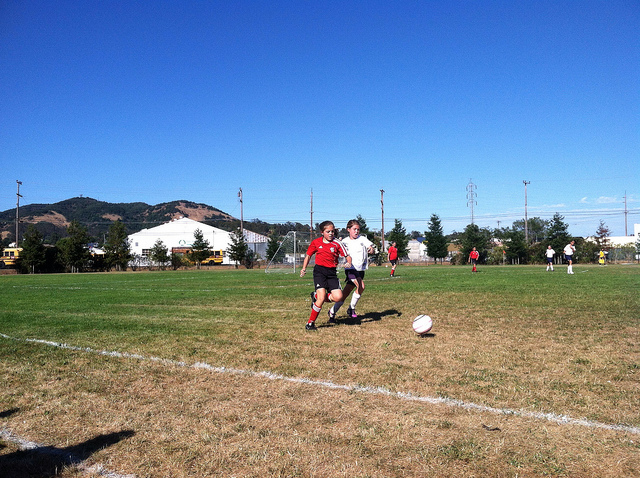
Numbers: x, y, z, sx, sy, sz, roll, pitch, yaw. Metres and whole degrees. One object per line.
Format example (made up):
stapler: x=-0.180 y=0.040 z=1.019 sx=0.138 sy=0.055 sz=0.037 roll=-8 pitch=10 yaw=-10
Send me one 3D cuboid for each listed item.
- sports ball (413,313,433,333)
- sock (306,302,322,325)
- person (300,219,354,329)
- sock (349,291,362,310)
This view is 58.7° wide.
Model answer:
sports ball: x=1.768 y=1.498 z=9.844 sx=0.303 sy=0.290 sz=0.357 roll=1 pitch=8 yaw=9
sock: x=-0.088 y=1.389 z=10.467 sx=0.169 sy=0.379 sz=0.321 roll=1 pitch=8 yaw=9
person: x=0.108 y=0.623 z=10.947 sx=0.613 sy=1.951 sz=1.598 roll=3 pitch=9 yaw=24
sock: x=0.699 y=1.297 z=11.783 sx=0.187 sy=0.399 sz=0.364 roll=-1 pitch=8 yaw=-2
